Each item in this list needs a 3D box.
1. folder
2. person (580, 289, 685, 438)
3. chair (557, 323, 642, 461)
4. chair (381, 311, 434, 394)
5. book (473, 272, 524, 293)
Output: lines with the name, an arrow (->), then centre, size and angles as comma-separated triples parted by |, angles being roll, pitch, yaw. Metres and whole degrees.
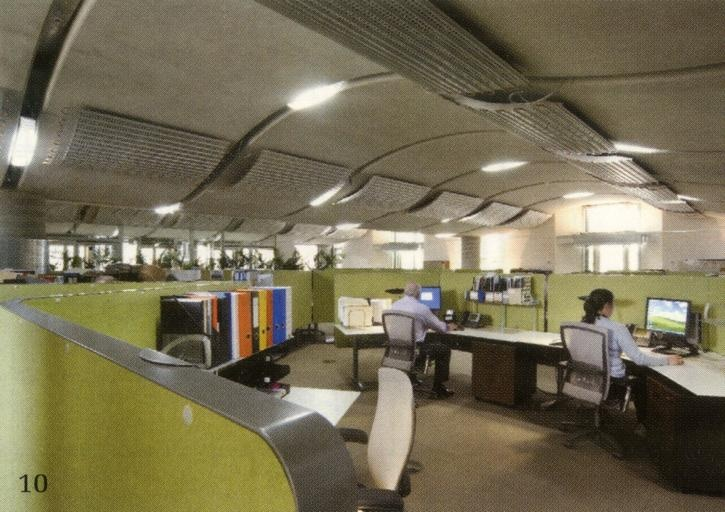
folder -> -1.164, 0.599, 4.931 | 0.436, 0.645, 1.219 | 7, 14, 40
person -> 2.980, 1.301, 6.514 | 1.116, 1.971, 1.056 | -9, 7, -39
chair -> 2.666, 1.274, 6.272 | 0.675, 1.449, 0.852 | -30, 27, -36
chair -> 0.637, 1.279, 7.487 | 0.674, 1.110, 0.631 | 1, 1, -30
book -> 1.989, 0.393, 8.058 | 0.851, 0.295, 0.276 | 8, 14, 42
